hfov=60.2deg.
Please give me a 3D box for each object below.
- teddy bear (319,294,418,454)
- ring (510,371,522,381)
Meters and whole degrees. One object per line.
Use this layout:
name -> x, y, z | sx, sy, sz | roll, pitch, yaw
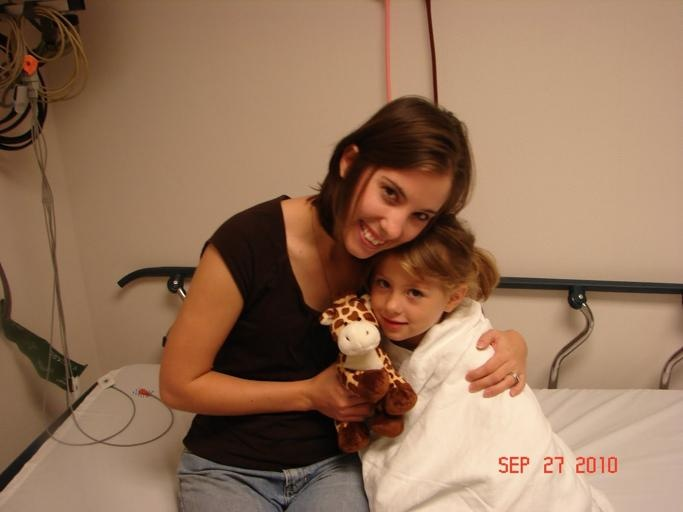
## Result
teddy bear -> 0.071, 0.349, 1.656 | 0.257, 0.464, 0.213 | -2, 13, -8
ring -> 0.499, 0.342, 1.683 | 0.021, 0.024, 0.014 | -9, -28, -44
